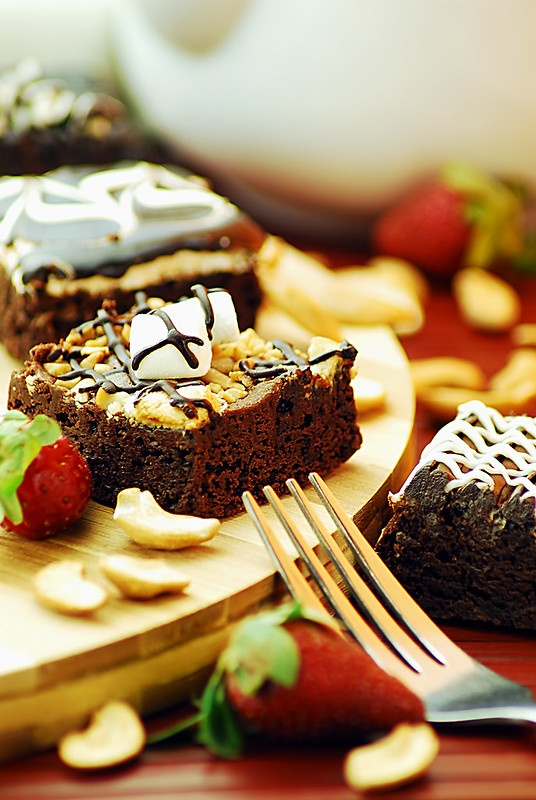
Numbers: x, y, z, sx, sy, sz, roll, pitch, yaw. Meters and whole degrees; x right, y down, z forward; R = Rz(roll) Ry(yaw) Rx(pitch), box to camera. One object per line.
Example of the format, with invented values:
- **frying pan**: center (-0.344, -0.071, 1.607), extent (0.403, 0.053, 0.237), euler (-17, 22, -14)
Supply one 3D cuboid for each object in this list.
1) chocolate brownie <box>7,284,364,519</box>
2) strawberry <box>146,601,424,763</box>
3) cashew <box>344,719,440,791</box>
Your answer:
- **chocolate brownie**: center (-0.141, -0.015, 1.261), extent (0.446, 0.250, 0.446), euler (19, 25, 37)
- **strawberry**: center (0.022, 0.241, 0.706), extent (0.209, 0.155, 0.093), euler (1, 73, -2)
- **cashew**: center (0.112, 0.317, 0.698), extent (0.062, 0.017, 0.044), euler (-22, 15, -9)
